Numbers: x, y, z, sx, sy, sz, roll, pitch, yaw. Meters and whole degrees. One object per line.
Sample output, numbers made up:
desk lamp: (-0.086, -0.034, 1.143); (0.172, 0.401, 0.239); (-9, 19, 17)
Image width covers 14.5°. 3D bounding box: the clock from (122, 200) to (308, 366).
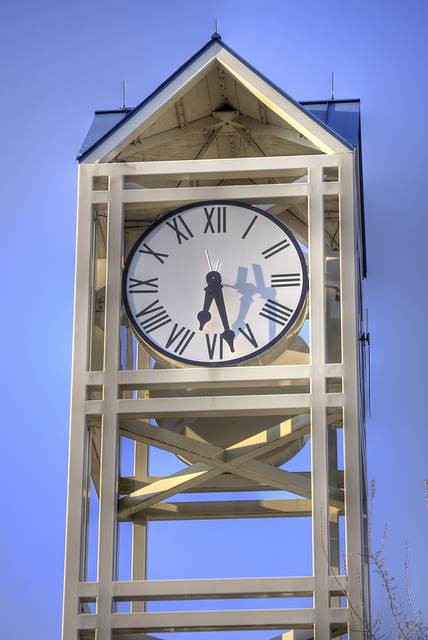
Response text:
clock: (0.049, -0.478, 23.451); (1.796, 2.278, 0.173); (10, -24, 11)
